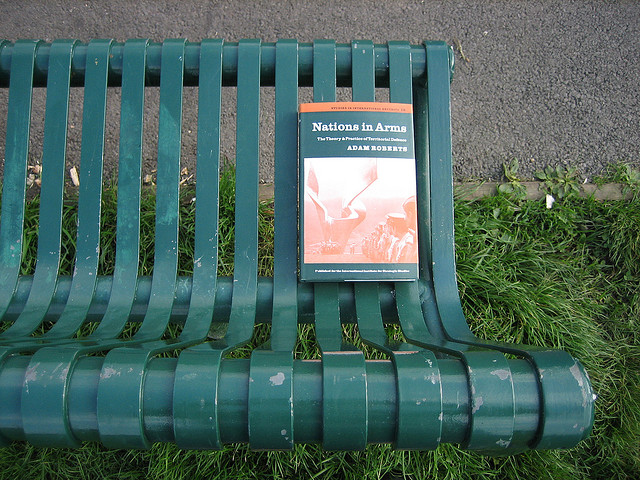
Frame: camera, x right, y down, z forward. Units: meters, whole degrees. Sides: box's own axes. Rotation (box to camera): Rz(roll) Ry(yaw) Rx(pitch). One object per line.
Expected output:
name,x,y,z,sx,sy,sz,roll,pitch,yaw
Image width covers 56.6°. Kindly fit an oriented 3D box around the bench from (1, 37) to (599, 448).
bench,-0.213,-0.033,2.296,2.171,0.641,1.520,-1,56,1
